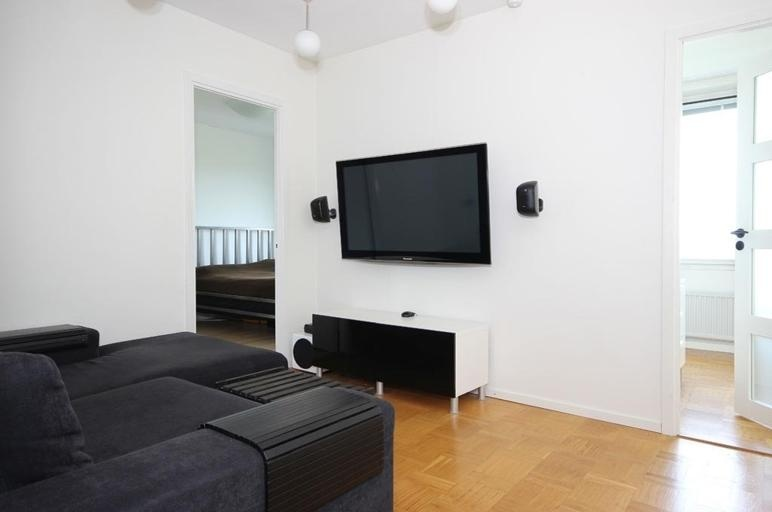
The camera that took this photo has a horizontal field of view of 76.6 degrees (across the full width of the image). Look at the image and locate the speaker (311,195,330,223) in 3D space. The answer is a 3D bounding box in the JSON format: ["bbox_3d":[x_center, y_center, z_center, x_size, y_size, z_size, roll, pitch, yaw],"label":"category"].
[{"bbox_3d":[-0.682,-0.474,5.021,0.245,0.280,0.228,3,10,16],"label":"speaker"}]

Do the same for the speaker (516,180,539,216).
[{"bbox_3d":[1.147,-0.455,3.934,0.190,0.285,0.200,5,10,27],"label":"speaker"}]
